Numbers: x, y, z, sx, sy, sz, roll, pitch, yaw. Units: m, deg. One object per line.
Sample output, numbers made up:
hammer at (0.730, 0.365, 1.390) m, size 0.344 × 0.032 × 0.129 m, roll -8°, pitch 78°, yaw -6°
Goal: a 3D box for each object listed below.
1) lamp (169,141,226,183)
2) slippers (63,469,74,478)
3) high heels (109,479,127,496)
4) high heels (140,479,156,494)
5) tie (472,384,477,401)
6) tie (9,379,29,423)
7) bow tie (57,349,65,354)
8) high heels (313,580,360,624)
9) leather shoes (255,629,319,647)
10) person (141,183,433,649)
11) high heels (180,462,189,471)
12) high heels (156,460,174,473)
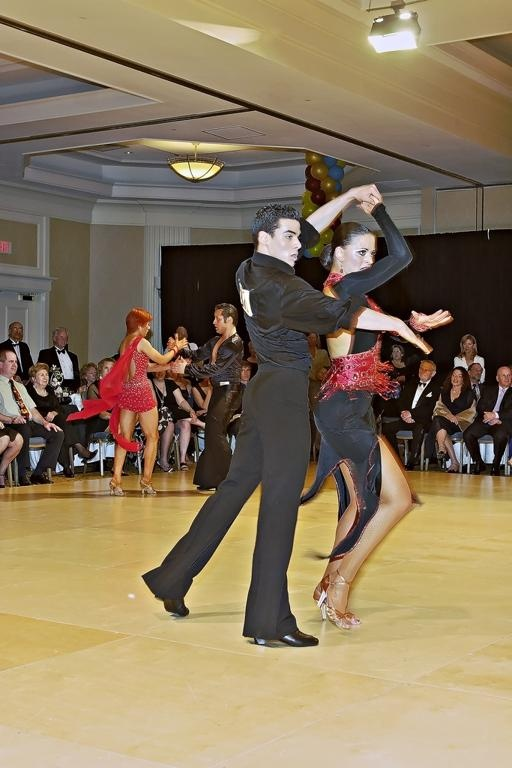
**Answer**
lamp at (-1.163, -4.422, 11.390) m, size 0.915 × 0.600 × 0.851 m, roll -1°, pitch -1°, yaw -6°
slippers at (-2.842, 1.361, 8.869) m, size 0.126 × 0.142 × 0.045 m, roll 1°, pitch 0°, yaw 20°
high heels at (-1.702, 1.274, 7.158) m, size 0.120 × 0.114 × 0.311 m, roll 2°, pitch -8°, yaw -24°
high heels at (-1.328, 1.274, 7.257) m, size 0.103 × 0.152 × 0.302 m, roll 3°, pitch 5°, yaw 9°
tie at (3.597, 0.131, 9.595) m, size 0.066 × 0.175 × 0.147 m, roll 2°, pitch 2°, yaw 28°
tie at (-3.173, 0.232, 7.911) m, size 0.151 × 0.622 × 0.092 m, roll -25°, pitch 0°, yaw -7°
bow tie at (-3.880, -0.652, 11.616) m, size 0.127 × 0.017 × 0.114 m, roll -3°, pitch -39°, yaw -12°
high heels at (0.325, 0.951, 2.631) m, size 0.112 × 0.143 × 0.320 m, roll -2°, pitch 5°, yaw -20°
leather shoes at (0.122, 0.997, 2.293) m, size 0.251 × 0.062 × 0.090 m, roll -3°, pitch -5°, yaw 2°
person at (0.134, 0.120, 2.457) m, size 1.054 × 1.728 × 0.569 m, roll 2°, pitch 1°, yaw 45°
high heels at (-1.162, 1.339, 9.456) m, size 0.118 × 0.077 × 0.321 m, roll -1°, pitch 2°, yaw -7°
high heels at (-1.435, 1.312, 9.303) m, size 0.123 × 0.075 × 0.291 m, roll -2°, pitch 9°, yaw -42°
